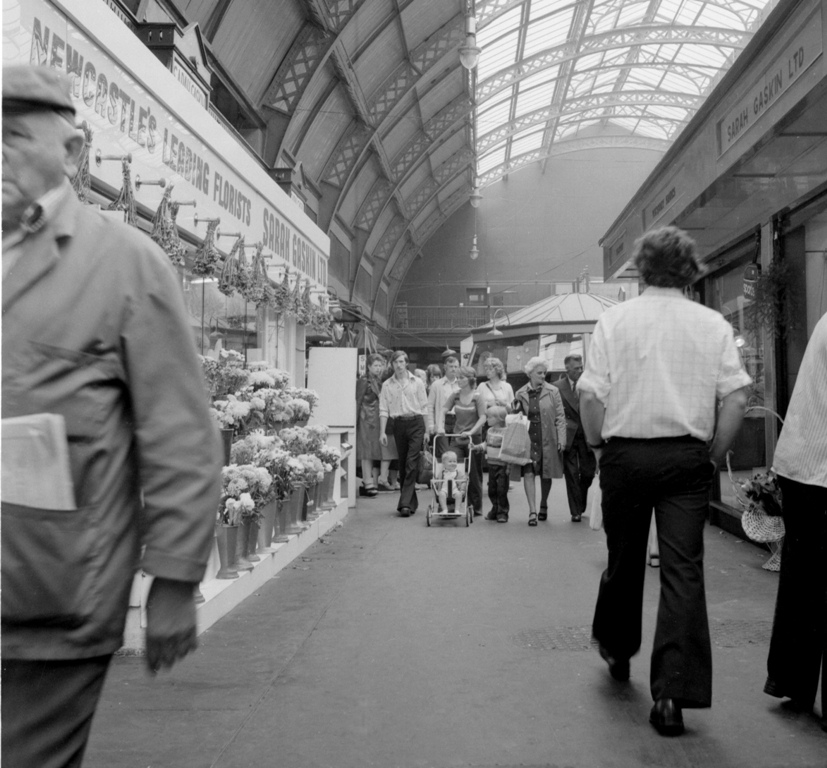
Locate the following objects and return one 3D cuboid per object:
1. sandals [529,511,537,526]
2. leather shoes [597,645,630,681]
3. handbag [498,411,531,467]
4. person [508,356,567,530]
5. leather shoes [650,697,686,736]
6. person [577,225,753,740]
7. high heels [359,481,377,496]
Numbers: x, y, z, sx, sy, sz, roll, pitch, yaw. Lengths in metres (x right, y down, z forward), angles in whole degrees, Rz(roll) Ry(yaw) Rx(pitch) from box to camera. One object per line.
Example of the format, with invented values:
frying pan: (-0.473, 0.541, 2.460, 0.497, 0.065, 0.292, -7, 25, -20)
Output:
sandals: (1.458, 1.632, 9.451, 0.121, 0.155, 0.334, -2, -4, 8)
leather shoes: (0.977, 1.347, 3.750, 0.060, 0.056, 0.228, -27, -45, -6)
handbag: (1.278, 0.702, 9.668, 0.497, 0.823, 0.315, 1, -4, 20)
person: (1.634, 0.696, 9.919, 0.639, 2.076, 1.210, -2, -4, 8)
leather shoes: (1.013, 1.355, 3.156, 0.082, 0.176, 0.163, 3, -33, -2)
person: (1.085, 0.338, 3.491, 0.549, 2.185, 0.732, 1, -4, -32)
high heels: (-0.760, 1.764, 12.980, 0.113, 0.195, 0.399, -1, -9, 8)
